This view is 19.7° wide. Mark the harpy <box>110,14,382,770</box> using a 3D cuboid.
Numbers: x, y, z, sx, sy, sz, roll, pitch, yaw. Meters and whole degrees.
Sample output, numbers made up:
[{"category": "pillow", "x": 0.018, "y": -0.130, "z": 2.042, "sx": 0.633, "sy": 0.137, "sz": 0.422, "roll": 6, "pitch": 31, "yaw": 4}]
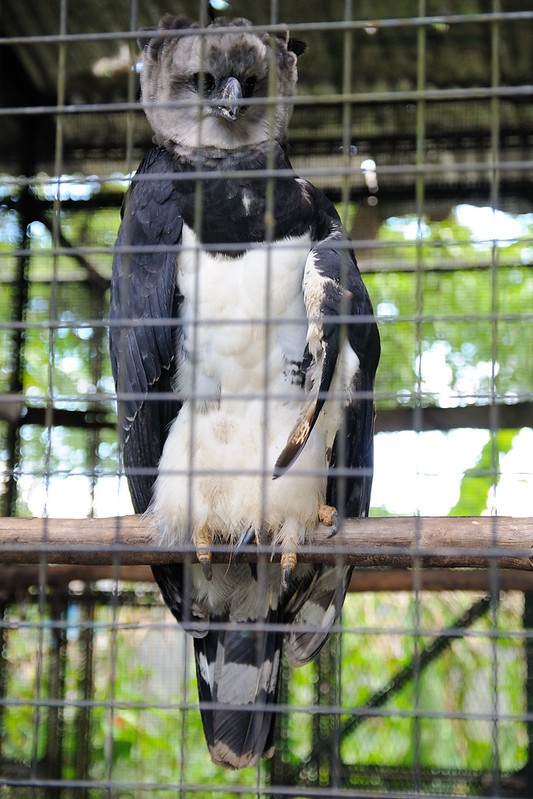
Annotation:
[{"category": "harpy", "x": -0.091, "y": -0.116, "z": 4.229, "sx": 0.800, "sy": 2.242, "sz": 1.023, "roll": 0, "pitch": -18, "yaw": 4}]
